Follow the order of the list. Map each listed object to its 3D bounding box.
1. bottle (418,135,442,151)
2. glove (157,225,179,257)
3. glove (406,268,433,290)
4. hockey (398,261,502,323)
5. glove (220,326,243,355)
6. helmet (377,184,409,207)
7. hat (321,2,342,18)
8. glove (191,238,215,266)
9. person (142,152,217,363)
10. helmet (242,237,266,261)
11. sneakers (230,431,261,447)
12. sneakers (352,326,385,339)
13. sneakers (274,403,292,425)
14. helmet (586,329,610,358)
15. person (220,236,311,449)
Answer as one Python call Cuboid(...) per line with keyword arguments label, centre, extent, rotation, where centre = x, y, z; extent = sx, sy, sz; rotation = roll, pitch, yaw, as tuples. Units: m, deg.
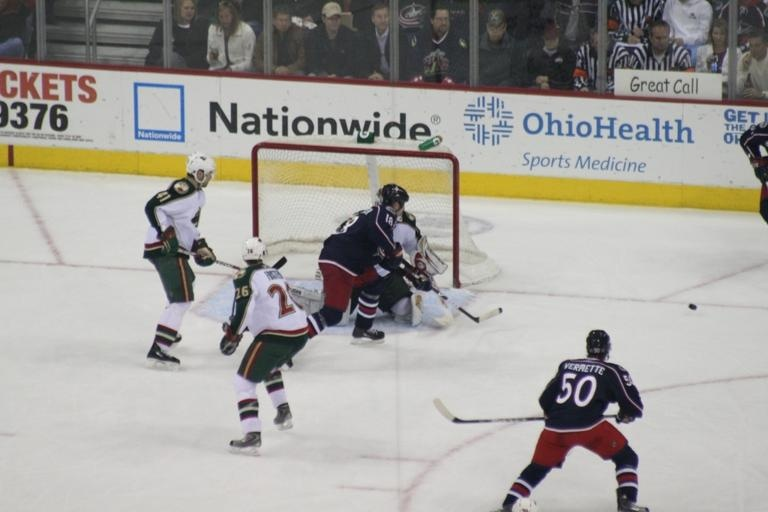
Cuboid(label="bottle", centre=(0.508, -1.105, 11.790), extent=(0.294, 0.108, 0.164), rotation=(-18, 14, -5))
Cuboid(label="glove", centre=(-1.869, -0.123, 10.279), extent=(0.159, 0.215, 0.094), rotation=(1, -1, -42))
Cuboid(label="glove", centre=(0.318, 0.223, 10.864), extent=(0.157, 0.079, 0.223), rotation=(10, -29, 50))
Cuboid(label="hockey", centre=(0.594, 0.361, 11.260), extent=(0.788, 0.061, 0.143), rotation=(39, 45, 20))
Cuboid(label="glove", centre=(-1.230, 0.692, 9.607), extent=(0.184, 0.235, 0.090), rotation=(18, 8, 23))
Cuboid(label="helmet", centre=(0.063, -0.563, 10.840), extent=(0.247, 0.183, 0.189), rotation=(8, -2, 37))
Cuboid(label="hat", centre=(-0.632, -2.940, 14.169), extent=(0.174, 0.131, 0.227), rotation=(-3, -3, -6))
Cuboid(label="glove", centre=(-1.615, -0.028, 10.513), extent=(0.185, 0.249, 0.088), rotation=(13, 57, 36))
Cuboid(label="person", centre=(-1.822, 0.004, 10.356), extent=(0.531, 1.750, 0.694), rotation=(5, 12, 16))
Cuboid(label="helmet", centre=(-1.053, -0.056, 9.676), extent=(0.164, 0.185, 0.192), rotation=(2, 4, 1))
Cuboid(label="sneakers", centre=(-1.102, 1.443, 9.426), extent=(0.250, 0.148, 0.168), rotation=(2, 11, 2))
Cuboid(label="sneakers", centre=(-0.156, 0.704, 10.760), extent=(0.284, 0.110, 0.108), rotation=(-4, 6, -14))
Cuboid(label="sneakers", centre=(-0.810, 1.283, 9.642), extent=(0.120, 0.173, 0.186), rotation=(-4, 10, -17))
Cuboid(label="helmet", centre=(1.643, 0.674, 9.129), extent=(0.167, 0.206, 0.218), rotation=(3, -5, 11))
Cuboid(label="person", centre=(-1.010, 0.707, 9.512), extent=(0.617, 1.619, 0.685), rotation=(8, 13, 27))
